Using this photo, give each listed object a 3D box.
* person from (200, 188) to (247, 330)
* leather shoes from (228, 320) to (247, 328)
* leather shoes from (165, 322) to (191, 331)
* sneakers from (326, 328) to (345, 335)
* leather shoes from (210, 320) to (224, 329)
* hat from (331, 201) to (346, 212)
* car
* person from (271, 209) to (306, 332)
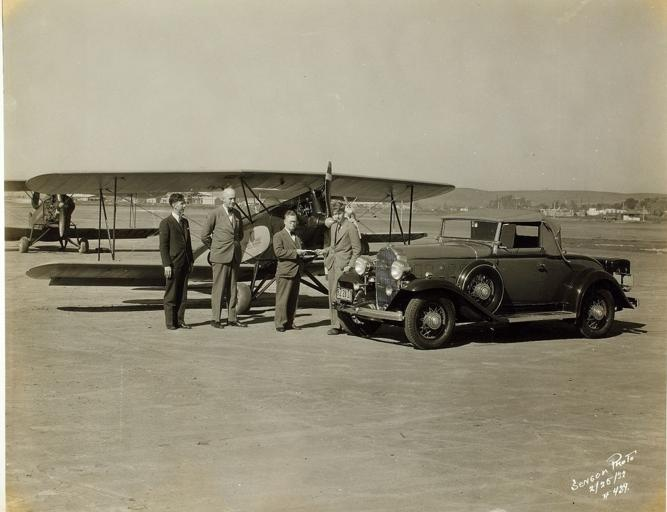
[{"bbox_3d":[-1.653,0.061,13.252,0.606,2.151,0.822,-1,13,-7],"label":"person"},{"bbox_3d":[-1.438,1.019,13.320,0.295,0.122,0.102,-1,0,-7],"label":"leather shoes"},{"bbox_3d":[-2.266,1.037,13.022,0.356,0.149,0.121,-3,7,-19],"label":"leather shoes"},{"bbox_3d":[0.034,1.097,12.914,0.244,0.108,0.089,7,-6,-28],"label":"sneakers"},{"bbox_3d":[-1.713,1.009,13.128,0.083,0.106,0.238,5,-9,-44],"label":"leather shoes"},{"bbox_3d":[0.048,-0.688,12.853,0.192,0.090,0.209,-18,21,-33],"label":"hat"},{"bbox_3d":[2.296,0.344,12.661,3.590,1.400,1.854,1,-2,-28],"label":"car"},{"bbox_3d":[-0.663,0.228,13.003,0.487,1.736,0.458,-5,14,-21],"label":"person"}]
